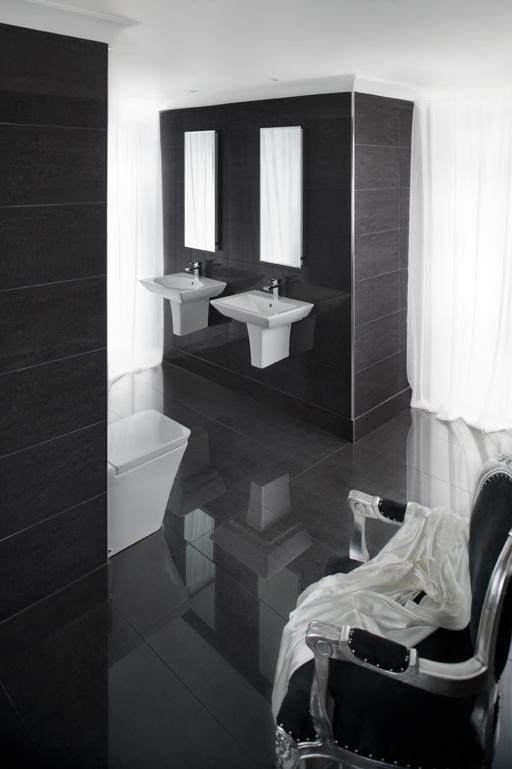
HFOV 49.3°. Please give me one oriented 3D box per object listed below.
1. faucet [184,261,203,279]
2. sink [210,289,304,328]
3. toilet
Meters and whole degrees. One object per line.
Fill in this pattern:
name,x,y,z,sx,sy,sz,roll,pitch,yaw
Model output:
faucet,-0.592,-1.074,5.216,0.126,0.215,0.160,10,11,41
sink,0.023,-0.583,4.400,0.470,0.243,0.812,-13,19,-38
toilet,-0.564,0.544,2.900,0.327,0.509,0.494,17,27,40
